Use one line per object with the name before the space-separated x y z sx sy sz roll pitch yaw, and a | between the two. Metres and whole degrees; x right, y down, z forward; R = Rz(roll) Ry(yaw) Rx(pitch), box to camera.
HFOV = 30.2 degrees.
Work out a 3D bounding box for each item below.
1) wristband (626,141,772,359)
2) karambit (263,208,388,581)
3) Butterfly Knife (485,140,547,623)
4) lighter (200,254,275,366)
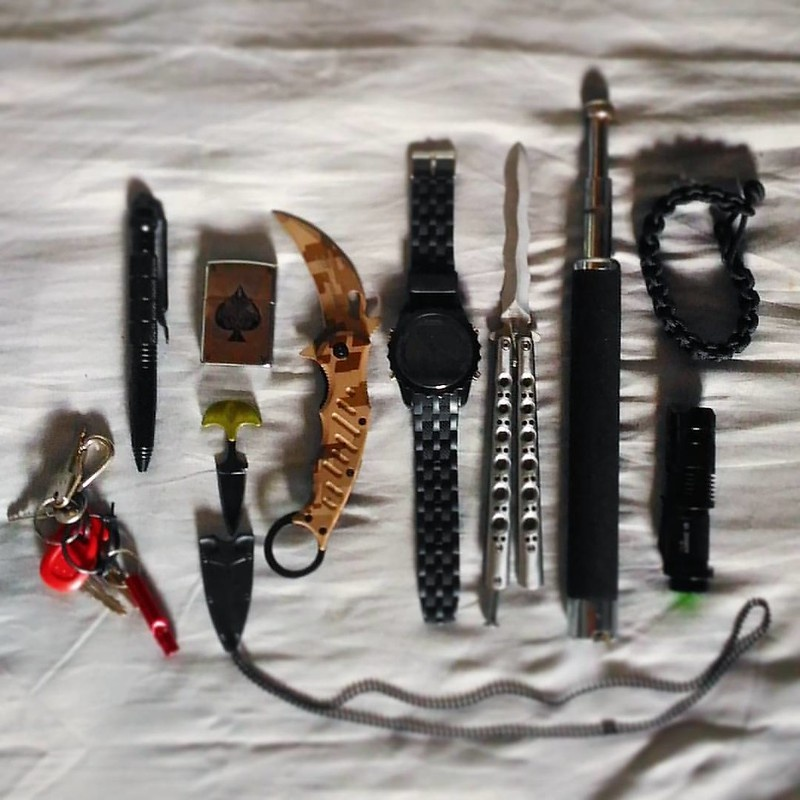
wristband | 0.425 -0.189 2.119 0.183 0.195 0.249 3 52 5
karambit | -0.110 0.001 2.109 0.151 0.325 0.453 1 52 3
Butterfly Knife | 0.160 0.000 2.085 0.112 0.060 0.577 -2 87 3
lighter | -0.229 -0.120 2.049 0.118 0.036 0.136 4 92 -2
